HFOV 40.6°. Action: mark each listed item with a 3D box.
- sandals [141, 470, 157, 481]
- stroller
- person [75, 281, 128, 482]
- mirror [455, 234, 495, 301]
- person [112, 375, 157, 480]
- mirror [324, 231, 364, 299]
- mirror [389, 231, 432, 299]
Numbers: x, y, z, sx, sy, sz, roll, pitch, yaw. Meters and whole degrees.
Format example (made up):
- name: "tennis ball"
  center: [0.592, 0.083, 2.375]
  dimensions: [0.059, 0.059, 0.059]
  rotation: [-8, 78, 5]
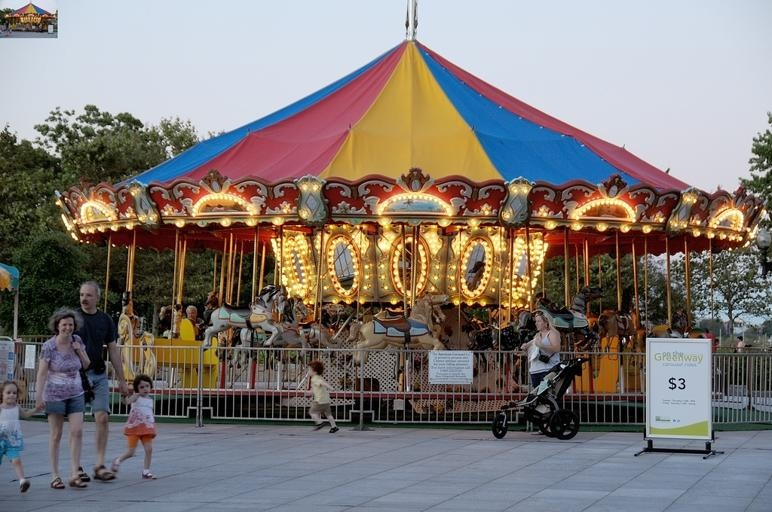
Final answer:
- name: "sandals"
  center: [-3.551, 3.237, 15.460]
  dimensions: [0.289, 0.140, 0.099]
  rotation: [-3, -4, 31]
- name: "stroller"
  center: [2.899, 2.661, 19.330]
  dimensions: [1.867, 1.570, 1.147]
  rotation: [1, -9, 1]
- name: "person"
  center: [-4.320, 1.810, 15.482]
  dimensions: [0.865, 2.636, 0.942]
  rotation: [2, -3, -40]
- name: "mirror"
  center: [2.057, 0.266, 24.277]
  dimensions: [0.694, 1.632, 0.691]
  rotation: [-4, 1, -15]
- name: "person"
  center: [-3.704, 2.534, 15.825]
  dimensions: [0.691, 1.571, 0.854]
  rotation: [2, -2, -9]
- name: "mirror"
  center: [-1.001, 0.165, 24.216]
  dimensions: [0.665, 1.713, 0.610]
  rotation: [-1, 1, 5]
- name: "mirror"
  center: [0.537, 0.231, 24.033]
  dimensions: [0.936, 1.601, 0.173]
  rotation: [5, 12, 23]
